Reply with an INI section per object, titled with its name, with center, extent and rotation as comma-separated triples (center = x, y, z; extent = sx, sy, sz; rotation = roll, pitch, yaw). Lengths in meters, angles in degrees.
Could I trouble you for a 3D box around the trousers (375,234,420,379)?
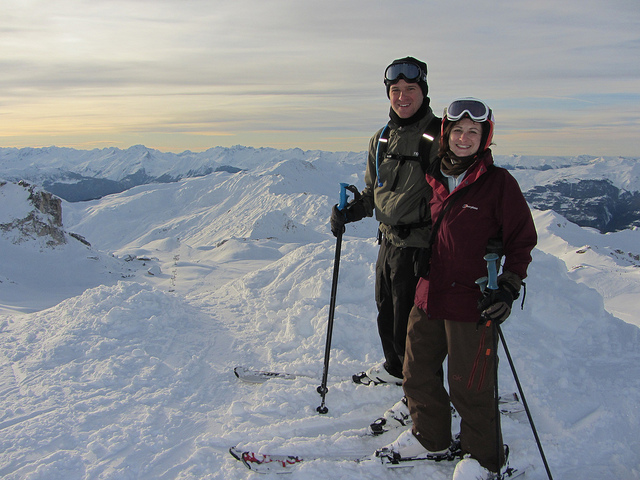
[trousers]
center = 1.578, 1.250, 13.900
extent = 0.914, 2.880, 0.998
rotation = -1, 9, -36
